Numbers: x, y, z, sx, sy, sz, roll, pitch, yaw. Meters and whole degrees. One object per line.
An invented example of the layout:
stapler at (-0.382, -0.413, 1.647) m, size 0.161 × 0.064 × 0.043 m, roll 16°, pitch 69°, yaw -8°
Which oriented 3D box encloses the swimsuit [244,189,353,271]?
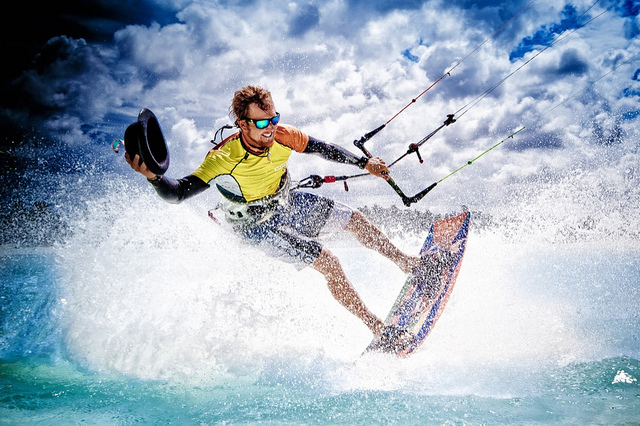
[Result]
swimsuit at (-1.316, 0.290, 11.904) m, size 1.748 × 3.650 × 1.870 m, roll 2°, pitch 91°, yaw -20°

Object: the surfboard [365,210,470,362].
surfboard at (2.298, 1.709, 12.652) m, size 1.087 × 0.517 × 5.077 m, roll 23°, pitch 45°, yaw 16°
